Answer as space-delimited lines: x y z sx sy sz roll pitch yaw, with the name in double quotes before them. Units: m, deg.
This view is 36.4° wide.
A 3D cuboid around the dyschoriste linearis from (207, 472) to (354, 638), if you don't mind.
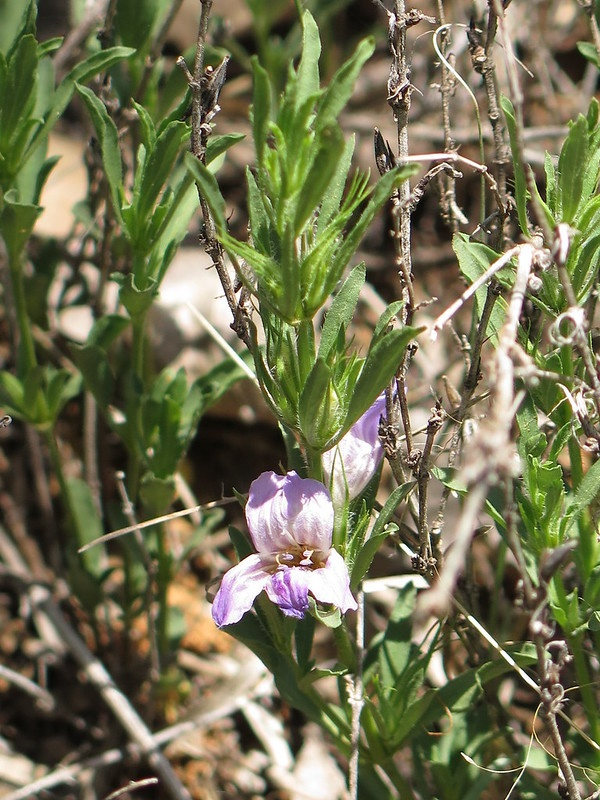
"dyschoriste linearis" -0.029 0.264 1.275 0.174 0.340 0.205 10 54 -3
